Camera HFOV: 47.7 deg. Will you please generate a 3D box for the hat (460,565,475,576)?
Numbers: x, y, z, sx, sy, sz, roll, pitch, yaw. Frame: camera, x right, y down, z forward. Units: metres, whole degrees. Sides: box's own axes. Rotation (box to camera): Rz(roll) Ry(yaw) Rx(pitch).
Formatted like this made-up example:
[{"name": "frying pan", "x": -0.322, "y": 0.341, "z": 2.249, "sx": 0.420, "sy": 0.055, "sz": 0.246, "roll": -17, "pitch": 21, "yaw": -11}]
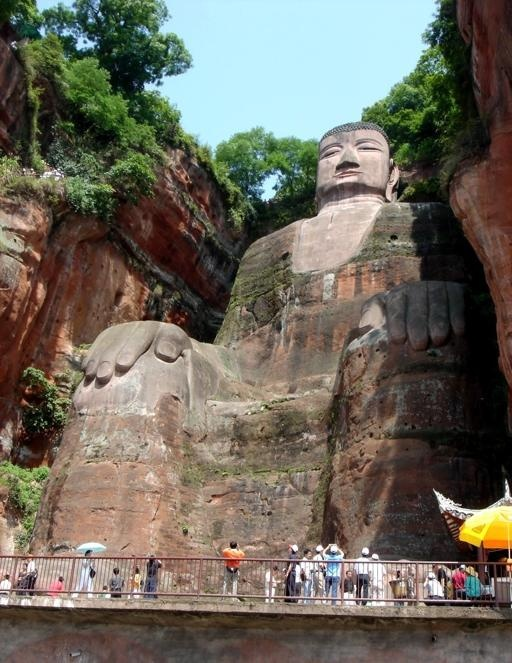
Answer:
[{"name": "hat", "x": 1.980, "y": 2.202, "z": 5.374, "sx": 0.145, "sy": 0.036, "sz": 0.134, "roll": -2, "pitch": -39, "yaw": -8}]
